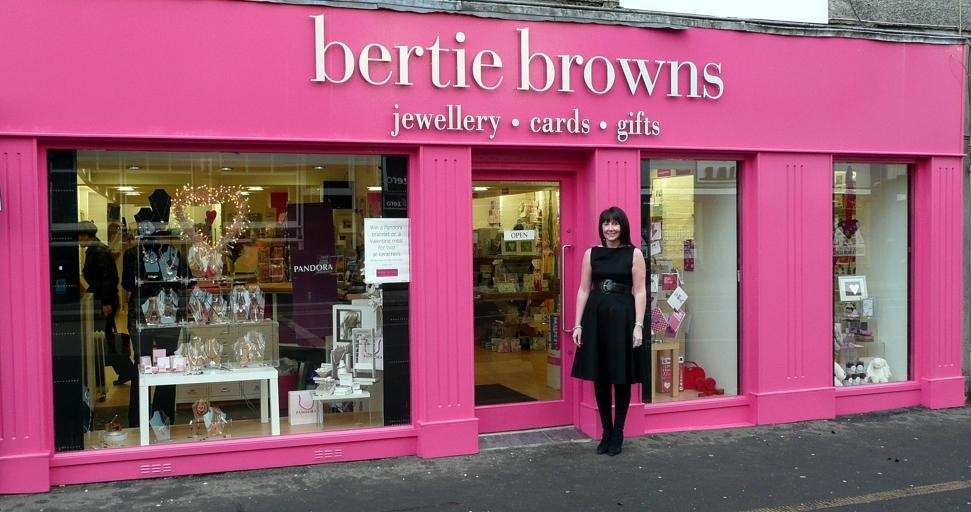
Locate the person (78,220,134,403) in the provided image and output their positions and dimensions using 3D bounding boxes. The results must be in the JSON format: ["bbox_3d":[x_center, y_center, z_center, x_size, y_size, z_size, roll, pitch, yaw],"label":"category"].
[{"bbox_3d":[-5.113,0.547,11.289,0.767,2.093,0.704,-3,25,-21],"label":"person"}]

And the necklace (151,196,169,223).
[{"bbox_3d":[-4.254,-0.618,11.229,0.370,0.400,0.059,-1,10,-13],"label":"necklace"}]

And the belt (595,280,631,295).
[{"bbox_3d":[1.697,0.399,11.398,0.449,0.192,0.099,-5,4,5],"label":"belt"}]

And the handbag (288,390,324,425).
[{"bbox_3d":[-2.425,2.033,11.549,0.485,0.423,0.172,5,-12,-37],"label":"handbag"}]

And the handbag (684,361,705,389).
[{"bbox_3d":[3.037,1.735,12.483,0.286,0.355,0.413,1,-6,0],"label":"handbag"}]

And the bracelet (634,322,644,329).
[{"bbox_3d":[2.036,0.915,11.312,0.105,0.090,0.100,2,3,1],"label":"bracelet"}]
